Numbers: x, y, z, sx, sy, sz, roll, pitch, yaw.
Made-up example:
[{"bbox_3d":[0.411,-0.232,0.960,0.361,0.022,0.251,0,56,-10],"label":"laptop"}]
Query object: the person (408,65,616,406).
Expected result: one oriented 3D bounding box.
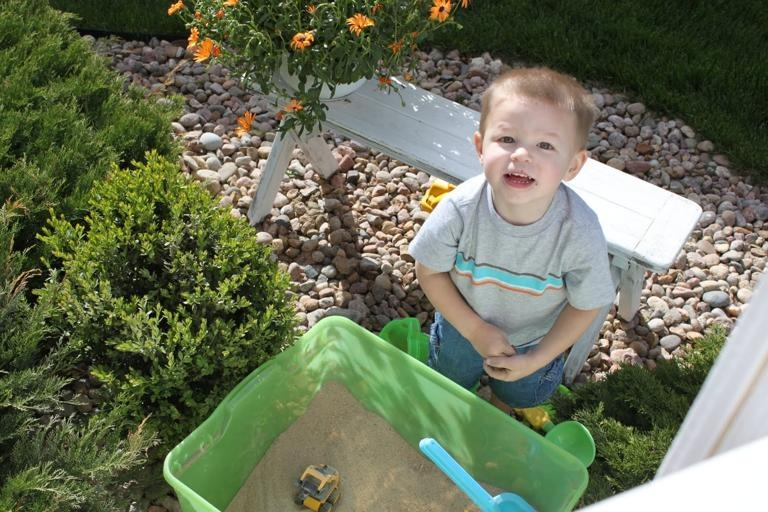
[{"bbox_3d":[0.518,0.144,2.696,0.755,1.745,0.689,19,48,17],"label":"person"}]
